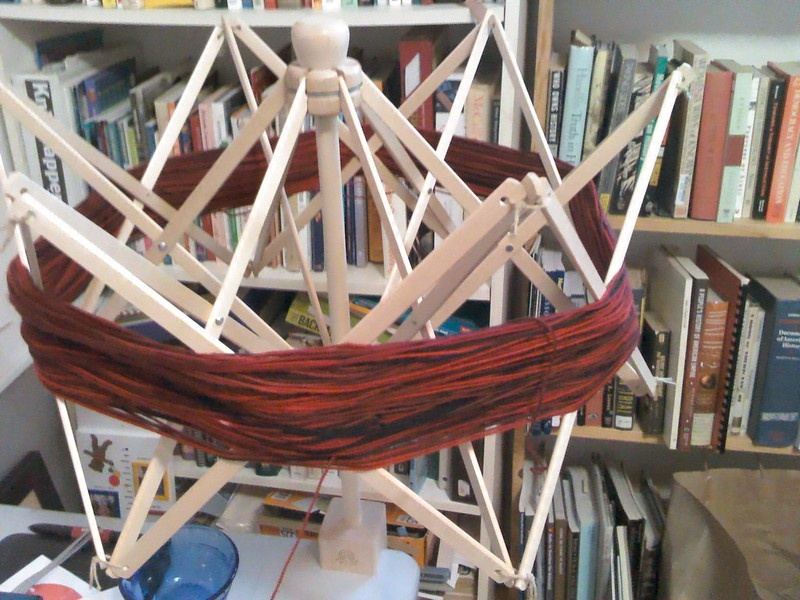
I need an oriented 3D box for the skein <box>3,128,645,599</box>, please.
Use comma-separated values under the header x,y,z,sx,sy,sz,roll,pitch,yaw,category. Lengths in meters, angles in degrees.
x,y,z,sx,sy,sz,roll,pitch,yaw,category
-0.119,0.084,1.279,0.698,0.196,0.778,1,31,3,skein
